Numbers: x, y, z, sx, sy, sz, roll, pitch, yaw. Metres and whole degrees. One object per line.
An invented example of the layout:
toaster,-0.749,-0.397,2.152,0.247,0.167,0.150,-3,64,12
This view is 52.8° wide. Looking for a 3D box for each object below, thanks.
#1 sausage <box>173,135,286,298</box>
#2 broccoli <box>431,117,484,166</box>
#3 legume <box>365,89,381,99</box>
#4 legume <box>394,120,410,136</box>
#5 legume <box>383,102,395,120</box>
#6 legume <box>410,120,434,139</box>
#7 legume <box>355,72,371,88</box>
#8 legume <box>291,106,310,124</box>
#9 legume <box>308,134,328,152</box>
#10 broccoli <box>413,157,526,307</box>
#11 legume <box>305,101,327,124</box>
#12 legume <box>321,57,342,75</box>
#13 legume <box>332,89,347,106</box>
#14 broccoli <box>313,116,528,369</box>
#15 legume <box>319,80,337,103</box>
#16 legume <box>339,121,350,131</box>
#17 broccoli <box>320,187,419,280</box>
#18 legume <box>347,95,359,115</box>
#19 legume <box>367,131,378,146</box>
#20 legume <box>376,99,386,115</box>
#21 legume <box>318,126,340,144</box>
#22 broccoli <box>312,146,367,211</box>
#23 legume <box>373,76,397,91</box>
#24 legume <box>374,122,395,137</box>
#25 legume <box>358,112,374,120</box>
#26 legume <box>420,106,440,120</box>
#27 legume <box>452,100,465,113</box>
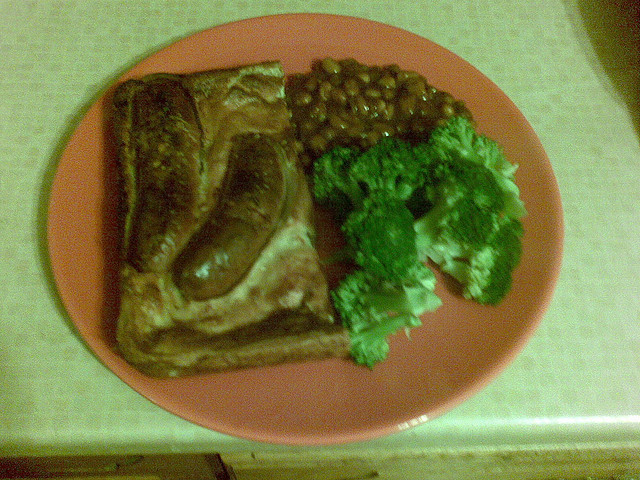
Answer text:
sausage,-0.181,-0.051,1.439,0.162,0.105,0.400,22,85,2
broccoli,0.324,-0.234,1.533,0.097,0.048,0.110,-36,60,-7
legume,0.130,-0.359,1.585,0.023,0.016,0.030,3,34,3
legume,0.204,-0.275,1.597,0.036,0.010,0.034,0,80,1
legume,0.172,-0.319,1.589,0.025,0.009,0.037,6,86,-8
legume,0.249,-0.276,1.574,0.047,0.011,0.046,15,93,16
legume,0.106,-0.397,1.598,0.031,0.023,0.039,-2,51,-4
legume,-0.051,-0.306,1.589,0.044,0.011,0.042,11,90,22
legume,-0.004,-0.236,1.572,0.038,0.012,0.040,-10,87,-6
broccoli,0.335,-0.025,1.419,0.331,0.088,0.318,12,93,3
legume,-0.007,-0.311,1.575,0.050,0.020,0.048,9,76,5
legume,0.028,-0.432,1.609,0.050,0.013,0.035,36,79,-2
legume,0.043,-0.347,1.585,0.027,0.009,0.040,-5,69,0
broccoli,0.262,-0.010,1.535,0.513,0.142,0.526,-14,85,-2
legume,0.013,-0.366,1.585,0.049,0.016,0.047,-12,80,-5
legume,0.060,-0.278,1.576,0.022,0.005,0.022,-44,108,-19
broccoli,0.138,-0.014,1.500,0.157,0.074,0.221,-11,85,-1
legume,0.082,-0.331,1.580,0.023,0.009,0.037,-10,94,0
legume,0.126,-0.247,1.572,0.025,0.008,0.030,5,84,4
legume,0.150,-0.326,1.586,0.029,0.016,0.029,0,73,2
legume,0.015,-0.255,1.575,0.038,0.012,0.045,-34,67,-14
broccoli,0.046,-0.147,1.633,0.134,0.080,0.152,-36,72,-5
legume,0.162,-0.388,1.598,0.048,0.012,0.031,3,79,1
legume,0.157,-0.272,1.580,0.030,0.010,0.046,-21,53,-16
legume,0.114,-0.304,1.587,0.021,0.020,0.008,21,33,-3
legume,0.272,-0.313,1.584,0.043,0.011,0.027,9,82,-2
legume,0.347,-0.333,1.608,0.032,0.009,0.031,26,59,2
